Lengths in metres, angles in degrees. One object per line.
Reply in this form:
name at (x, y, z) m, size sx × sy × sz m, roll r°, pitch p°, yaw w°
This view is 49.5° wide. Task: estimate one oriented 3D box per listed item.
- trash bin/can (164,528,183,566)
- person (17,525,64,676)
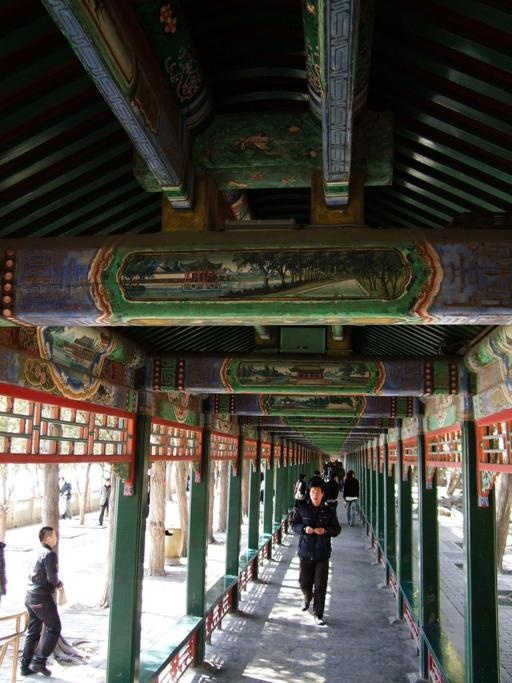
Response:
trash bin/can at (-1.770, 4.505, 12.214) m, size 0.472 × 0.749 × 0.382 m, roll 6°, pitch -13°, yaw -29°
person at (-2.206, 2.722, 5.866) m, size 0.369 × 1.517 × 0.681 m, roll 6°, pitch -13°, yaw -25°
